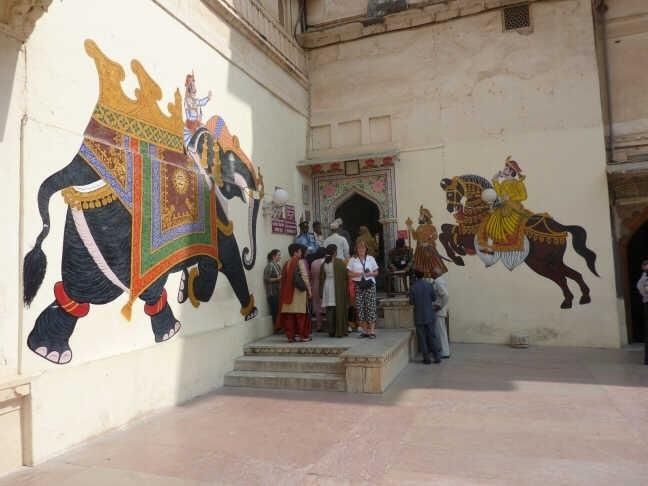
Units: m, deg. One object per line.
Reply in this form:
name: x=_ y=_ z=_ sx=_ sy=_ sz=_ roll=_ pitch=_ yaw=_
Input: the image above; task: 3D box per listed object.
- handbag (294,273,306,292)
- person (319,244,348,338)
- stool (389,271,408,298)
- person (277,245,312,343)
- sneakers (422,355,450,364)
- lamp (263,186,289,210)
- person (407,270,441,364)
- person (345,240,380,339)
handbag: x=-0.490 y=0.723 z=11.577 sx=0.122 sy=0.306 sz=0.301 roll=-11 pitch=-11 yaw=19
person: x=0.180 y=0.958 z=12.089 sx=0.652 sy=1.840 sz=0.385 roll=1 pitch=6 yaw=23
stool: x=1.731 y=0.938 z=13.993 sx=0.500 sy=0.535 sz=0.526 roll=0 pitch=-8 yaw=3
person: x=-0.609 y=0.973 z=11.776 sx=0.606 sy=1.863 sz=0.453 roll=-1 pitch=5 yaw=2
sneakers: x=2.200 y=2.312 z=11.969 sx=0.459 sy=0.169 sz=0.131 roll=-5 pitch=6 yaw=-11
lamp: x=-1.047 y=-0.996 z=13.180 sx=0.490 sy=0.465 sz=0.680 roll=-1 pitch=6 yaw=10
person: x=2.006 y=1.459 z=12.056 sx=0.602 sy=1.844 sz=0.749 roll=-1 pitch=5 yaw=9
person: x=0.744 y=0.907 z=11.854 sx=0.641 sy=1.847 sz=0.561 roll=1 pitch=6 yaw=25
